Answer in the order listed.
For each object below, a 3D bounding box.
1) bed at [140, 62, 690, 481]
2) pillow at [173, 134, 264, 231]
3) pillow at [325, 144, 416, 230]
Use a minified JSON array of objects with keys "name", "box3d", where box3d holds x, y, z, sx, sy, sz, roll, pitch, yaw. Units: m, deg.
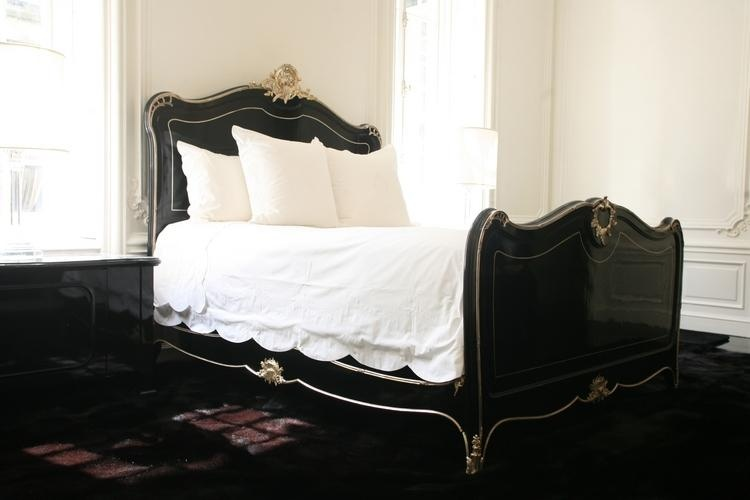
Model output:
[{"name":"bed","box3d":[0.199,-0.011,4.088,2.911,2.434,2.433,2,4,43]},{"name":"pillow","box3d":[-1.098,-0.464,4.123,0.156,0.564,0.529,-17,-11,40]},{"name":"pillow","box3d":[-0.056,-0.449,4.349,0.598,0.610,0.176,-3,-16,-39]}]
